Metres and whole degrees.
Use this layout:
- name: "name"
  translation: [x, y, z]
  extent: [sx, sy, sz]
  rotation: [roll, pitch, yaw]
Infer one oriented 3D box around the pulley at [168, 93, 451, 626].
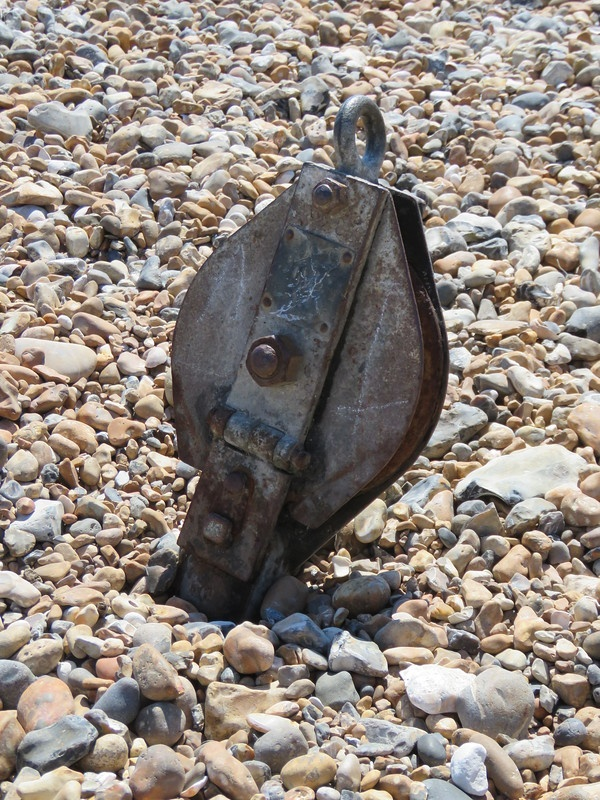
- name: "pulley"
  translation: [-0.032, -0.014, 2.310]
  extent: [0.644, 1.021, 0.368]
  rotation: [30, 27, 35]
